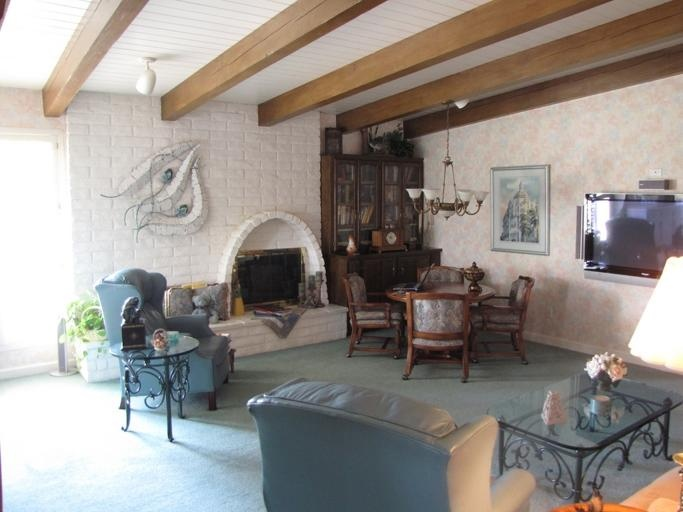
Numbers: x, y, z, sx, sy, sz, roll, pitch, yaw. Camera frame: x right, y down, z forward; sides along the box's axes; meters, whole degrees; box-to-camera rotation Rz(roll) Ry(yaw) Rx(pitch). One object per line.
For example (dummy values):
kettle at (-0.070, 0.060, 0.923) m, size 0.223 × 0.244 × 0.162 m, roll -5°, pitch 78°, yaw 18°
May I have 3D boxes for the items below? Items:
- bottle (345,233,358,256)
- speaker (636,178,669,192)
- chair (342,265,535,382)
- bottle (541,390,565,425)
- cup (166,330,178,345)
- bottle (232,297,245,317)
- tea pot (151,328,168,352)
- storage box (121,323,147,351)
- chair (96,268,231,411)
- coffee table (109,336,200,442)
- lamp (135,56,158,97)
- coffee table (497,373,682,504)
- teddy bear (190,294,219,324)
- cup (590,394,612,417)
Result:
bottle at (0.150, -0.151, 7.524) m, size 0.168 × 0.263 × 0.410 m, roll 0°, pitch 11°, yaw 2°
speaker at (3.566, -0.804, 5.839) m, size 0.311 × 0.134 × 0.094 m, roll 6°, pitch 13°, yaw 30°
chair at (1.219, 0.821, 6.320) m, size 1.726 × 0.679 × 1.621 m, roll 0°, pitch 0°, yaw 6°
bottle at (1.596, 1.157, 3.873) m, size 0.193 × 0.215 × 0.180 m, roll -8°, pitch 15°, yaw -13°
cup at (-1.553, 0.757, 4.672) m, size 0.124 × 0.084 × 0.094 m, roll 0°, pitch 1°, yaw 18°
bottle at (-1.398, 0.669, 6.951) m, size 0.171 × 0.260 × 0.341 m, roll -3°, pitch 11°, yaw -11°
tea pot at (-1.614, 0.746, 4.563) m, size 0.130 × 0.160 × 0.223 m, roll -6°, pitch 12°, yaw -24°
storage box at (-1.840, 0.698, 4.560) m, size 0.280 × 0.235 × 0.222 m, roll 1°, pitch -1°, yaw -34°
chair at (-1.707, 0.749, 5.725) m, size 1.614 × 1.571 × 1.292 m, roll -1°, pitch 6°, yaw -5°
coffee table at (-1.709, 1.165, 4.950) m, size 0.938 × 0.904 × 0.916 m, roll -5°, pitch 11°, yaw -37°
lamp at (-1.977, -1.832, 5.200) m, size 0.208 × 0.436 × 0.194 m, roll 13°, pitch 23°, yaw 17°
coffee table at (1.800, 1.313, 3.969) m, size 1.375 × 0.597 × 0.890 m, roll -6°, pitch 5°, yaw -40°
teddy bear at (-1.697, 0.650, 6.407) m, size 0.403 × 0.332 × 0.116 m, roll 1°, pitch -4°, yaw -43°
cup at (2.004, 1.170, 4.004) m, size 0.151 × 0.101 × 0.141 m, roll -2°, pitch 9°, yaw 0°
